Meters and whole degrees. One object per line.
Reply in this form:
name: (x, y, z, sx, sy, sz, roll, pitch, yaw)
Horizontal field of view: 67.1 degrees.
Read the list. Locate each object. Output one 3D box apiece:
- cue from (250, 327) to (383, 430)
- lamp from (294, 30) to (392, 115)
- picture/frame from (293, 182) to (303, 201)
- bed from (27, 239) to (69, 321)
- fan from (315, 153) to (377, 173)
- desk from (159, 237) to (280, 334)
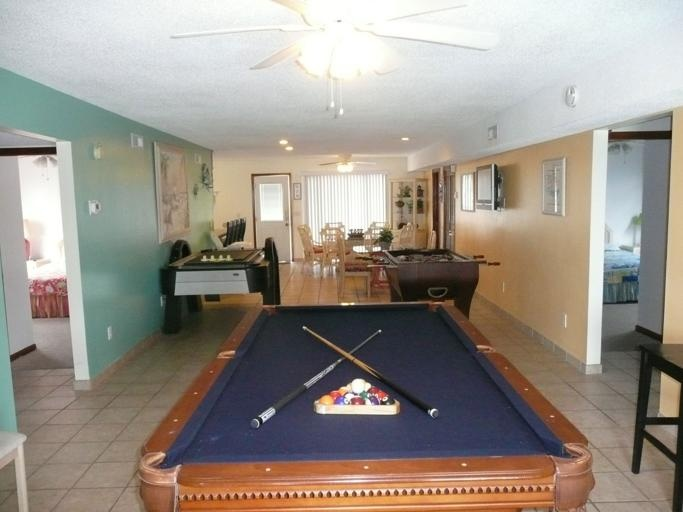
cue: (-0.134, 0.674, 2.804, 0.069, 0.070, 1.671, 3, 9, 23)
lamp: (0.030, -1.048, 2.924, 0.697, 0.425, 0.653, 6, 25, 11)
picture/frame: (-1.002, -1.510, 11.807, 0.197, 0.398, 0.077, -4, 14, -8)
bed: (-4.058, 0.563, 7.190, 0.473, 0.570, 0.360, -7, 15, -22)
fan: (0.035, -1.979, 11.126, 1.173, 0.443, 2.125, 0, 12, 6)
desk: (-1.182, 0.270, 6.663, 1.480, 1.085, 1.952, -2, 8, 11)
